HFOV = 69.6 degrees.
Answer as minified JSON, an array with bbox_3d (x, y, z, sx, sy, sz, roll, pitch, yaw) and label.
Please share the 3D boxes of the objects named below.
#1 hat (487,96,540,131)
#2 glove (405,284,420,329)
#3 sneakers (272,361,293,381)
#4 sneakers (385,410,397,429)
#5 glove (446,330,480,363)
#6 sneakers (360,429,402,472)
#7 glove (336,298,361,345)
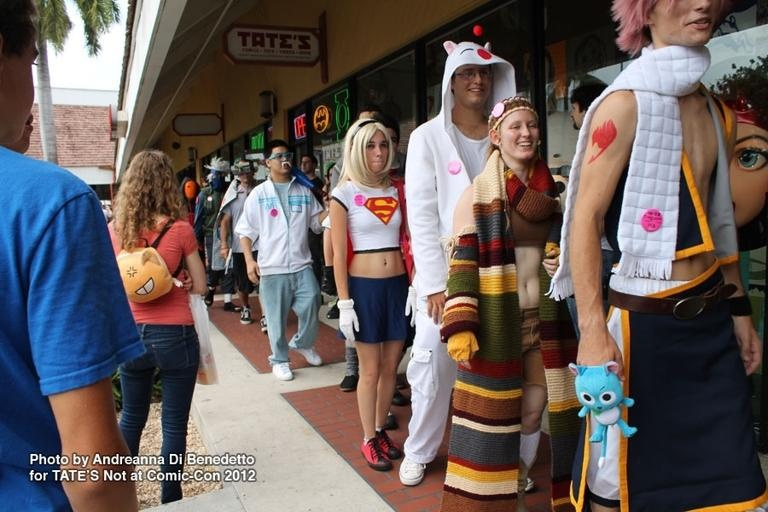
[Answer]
[{"bbox_3d":[0.726,-0.854,3.233,0.221,0.121,0.203,-11,-5,42],"label":"hat"},{"bbox_3d":[0.199,0.357,4.055,0.067,0.253,0.147,-1,-3,-12],"label":"glove"},{"bbox_3d":[-1.074,1.217,5.875,0.108,0.132,0.320,2,-5,-25],"label":"sneakers"},{"bbox_3d":[0.060,1.348,4.583,0.068,0.084,0.196,0,4,0],"label":"sneakers"},{"bbox_3d":[0.420,0.469,2.923,0.154,0.161,0.064,-16,9,-7],"label":"glove"},{"bbox_3d":[-0.024,1.369,3.947,0.177,0.118,0.287,-8,11,-36],"label":"sneakers"},{"bbox_3d":[-0.255,0.461,4.091,0.168,0.288,0.112,5,-4,21],"label":"glove"}]
